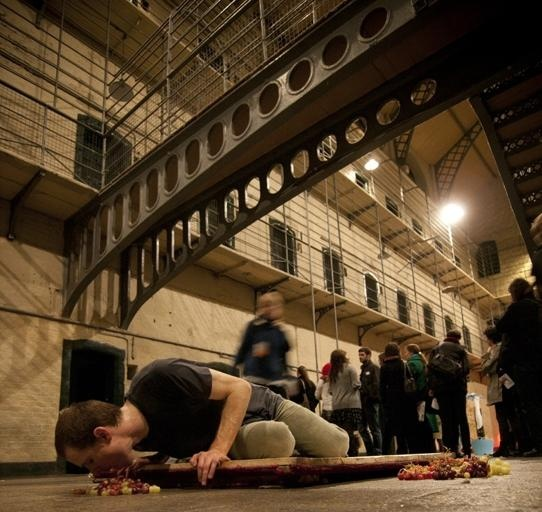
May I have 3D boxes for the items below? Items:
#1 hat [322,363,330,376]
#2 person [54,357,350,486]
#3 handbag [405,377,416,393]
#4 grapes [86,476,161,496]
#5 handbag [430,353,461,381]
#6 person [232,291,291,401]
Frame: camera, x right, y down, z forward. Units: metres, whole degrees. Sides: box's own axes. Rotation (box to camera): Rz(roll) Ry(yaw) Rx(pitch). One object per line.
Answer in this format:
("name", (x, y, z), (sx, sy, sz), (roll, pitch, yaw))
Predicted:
("hat", (0.830, 1.700, 9.221), (0.146, 0.138, 0.181), (2, -4, 8))
("person", (-0.416, 1.037, 3.846), (1.511, 0.540, 0.861), (5, -27, -25))
("handbag", (1.734, 1.615, 7.692), (0.158, 0.196, 0.086), (12, -37, -11))
("grapes", (-0.870, 1.344, 3.599), (0.516, 0.113, 0.224), (-8, -26, 23))
("handbag", (1.870, 1.179, 6.610), (0.294, 0.219, 0.116), (17, -9, 34))
("person", (-0.057, 1.084, 5.757), (0.530, 1.501, 0.495), (4, -19, -4))
